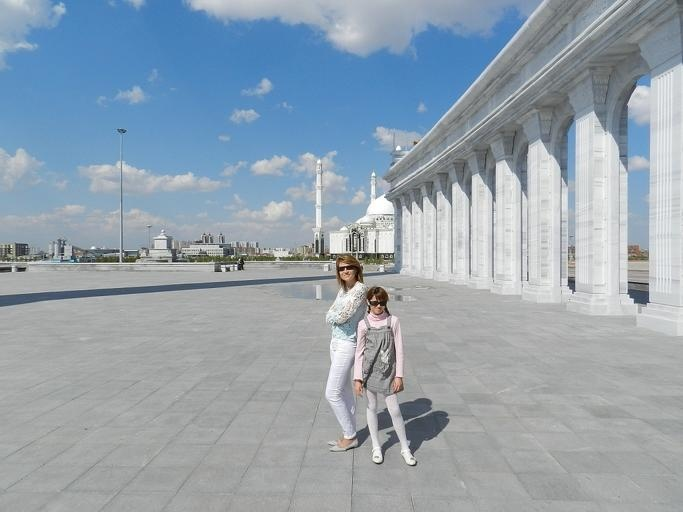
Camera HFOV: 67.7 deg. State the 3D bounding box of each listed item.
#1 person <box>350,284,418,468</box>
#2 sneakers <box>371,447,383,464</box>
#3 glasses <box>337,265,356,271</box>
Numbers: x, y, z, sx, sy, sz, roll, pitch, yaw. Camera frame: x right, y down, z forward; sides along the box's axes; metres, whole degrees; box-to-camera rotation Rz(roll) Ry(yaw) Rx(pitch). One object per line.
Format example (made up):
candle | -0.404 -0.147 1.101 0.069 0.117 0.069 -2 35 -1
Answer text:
person | 0.491 1.366 5.959 0.656 2.049 0.376 0 5 1
sneakers | 0.415 2.316 5.967 0.119 0.126 0.308 -1 -11 4
glasses | 0.066 0.132 6.108 0.192 0.089 0.093 1 6 9
